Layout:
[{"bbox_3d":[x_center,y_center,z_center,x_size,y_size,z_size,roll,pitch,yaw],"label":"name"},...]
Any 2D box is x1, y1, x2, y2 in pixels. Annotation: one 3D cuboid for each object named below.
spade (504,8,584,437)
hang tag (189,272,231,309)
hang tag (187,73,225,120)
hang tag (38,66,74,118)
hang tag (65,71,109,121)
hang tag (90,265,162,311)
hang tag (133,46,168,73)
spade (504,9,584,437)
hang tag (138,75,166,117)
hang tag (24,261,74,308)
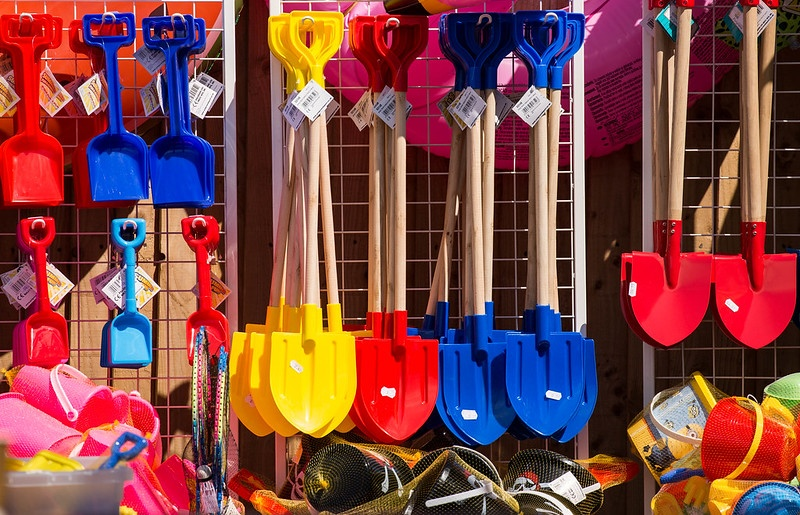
[{"bbox_3d":[0.363,-0.015,2.501,0.204,1.360,0.110,1,38,9],"label":"spade"},{"bbox_3d":[-0.506,0.084,2.646,0.095,0.111,0.022,-9,37,-17],"label":"hang tag"},{"bbox_3d":[-0.522,-0.436,2.637,0.104,0.103,0.025,39,-4,-3],"label":"hang tag"},{"bbox_3d":[-0.911,-0.434,2.594,0.081,0.114,0.034,-37,9,-4],"label":"hang tag"},{"bbox_3d":[-0.826,-0.432,2.619,0.096,0.125,0.044,-4,7,-7],"label":"hang tag"},{"bbox_3d":[-0.730,0.078,2.620,0.168,0.111,0.075,-1,-1,-23],"label":"hang tag"},{"bbox_3d":[-0.651,-0.522,2.576,0.085,0.073,0.026,-2,-1,9],"label":"hang tag"},{"bbox_3d":[0.366,-0.034,2.547,0.186,1.243,0.085,7,30,22],"label":"spade"},{"bbox_3d":[-0.649,-0.447,2.597,0.074,0.039,0.100,-23,-13,-13],"label":"hang tag"},{"bbox_3d":[-0.934,0.068,2.622,0.116,0.028,0.118,42,30,4],"label":"hang tag"}]
